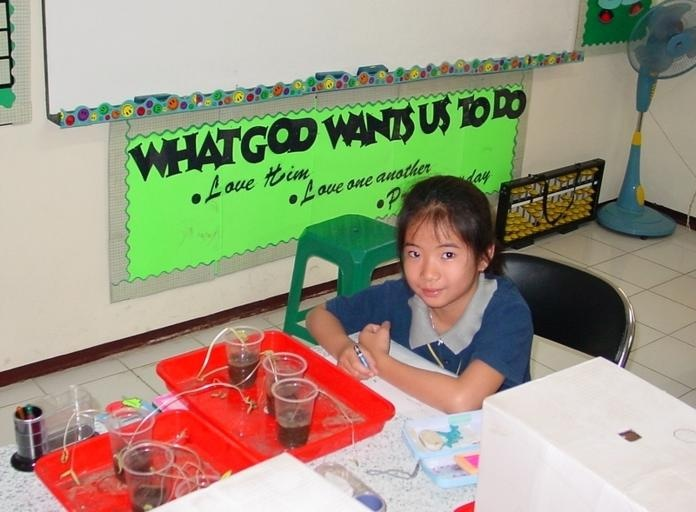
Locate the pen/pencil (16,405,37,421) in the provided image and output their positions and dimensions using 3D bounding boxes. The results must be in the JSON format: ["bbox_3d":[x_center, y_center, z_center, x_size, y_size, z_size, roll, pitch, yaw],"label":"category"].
[{"bbox_3d":[-0.644,0.311,1.049,0.027,0.022,0.029,0,18,-15],"label":"pen/pencil"}]
